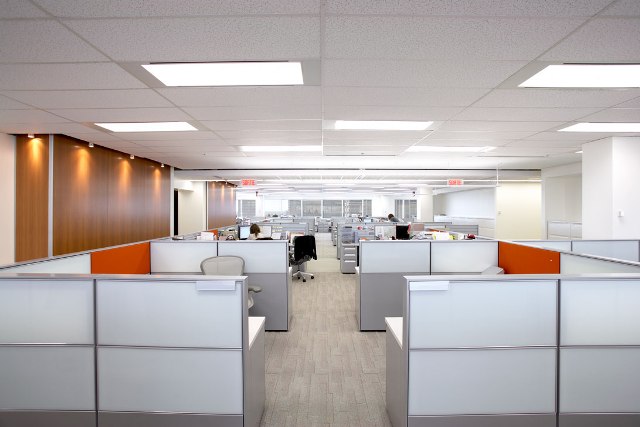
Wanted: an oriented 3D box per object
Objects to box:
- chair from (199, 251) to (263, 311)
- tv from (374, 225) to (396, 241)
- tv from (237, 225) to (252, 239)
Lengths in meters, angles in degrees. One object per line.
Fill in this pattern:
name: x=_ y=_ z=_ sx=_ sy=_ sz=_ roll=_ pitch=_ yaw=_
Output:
chair: x=-1.253 y=0.961 z=6.482 sx=0.774 sy=0.761 sz=0.719 roll=2 pitch=-1 yaw=-8
tv: x=1.445 y=0.410 z=10.732 sx=0.678 sy=0.345 sz=0.326 roll=-1 pitch=-9 yaw=18
tv: x=-1.586 y=0.386 z=10.020 sx=0.412 sy=0.291 sz=0.203 roll=1 pitch=-3 yaw=-21
